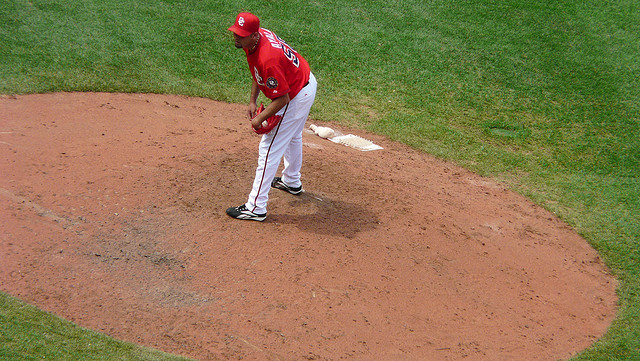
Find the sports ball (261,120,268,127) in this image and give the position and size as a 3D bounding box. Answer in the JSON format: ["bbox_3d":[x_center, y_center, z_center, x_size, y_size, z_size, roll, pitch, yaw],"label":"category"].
[{"bbox_3d":[-1.004,-1.035,10.505,0.090,0.081,0.089,7,55,-10],"label":"sports ball"}]
